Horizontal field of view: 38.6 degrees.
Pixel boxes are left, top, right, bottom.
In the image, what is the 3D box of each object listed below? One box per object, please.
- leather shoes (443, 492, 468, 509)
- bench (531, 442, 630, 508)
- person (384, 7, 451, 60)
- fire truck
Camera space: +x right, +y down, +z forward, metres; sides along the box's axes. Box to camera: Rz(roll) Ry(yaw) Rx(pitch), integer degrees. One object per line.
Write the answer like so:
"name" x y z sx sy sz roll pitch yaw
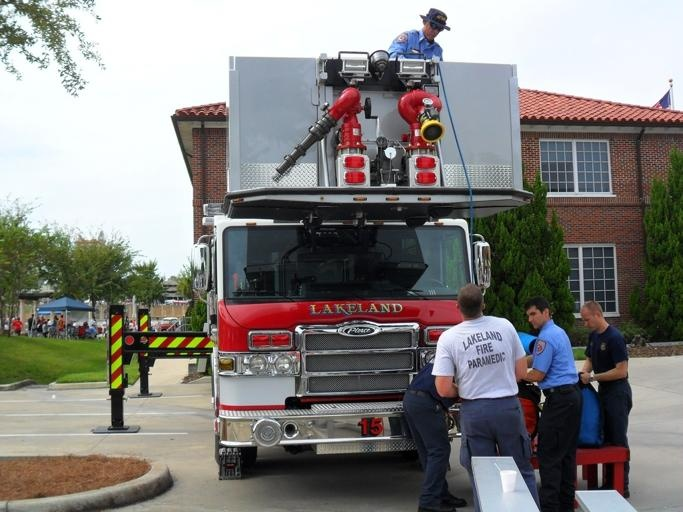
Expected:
"leather shoes" 1.506 3.296 13.071 0.445 0.178 0.170 -6 -7 31
"bench" 3.499 3.032 13.479 0.869 0.633 0.861 0 -11 -4
"person" 1.134 -3.207 14.285 0.859 0.893 0.670 0 -5 1
"fire truck" -0.028 0.004 16.559 3.285 4.239 7.084 0 -5 -6
